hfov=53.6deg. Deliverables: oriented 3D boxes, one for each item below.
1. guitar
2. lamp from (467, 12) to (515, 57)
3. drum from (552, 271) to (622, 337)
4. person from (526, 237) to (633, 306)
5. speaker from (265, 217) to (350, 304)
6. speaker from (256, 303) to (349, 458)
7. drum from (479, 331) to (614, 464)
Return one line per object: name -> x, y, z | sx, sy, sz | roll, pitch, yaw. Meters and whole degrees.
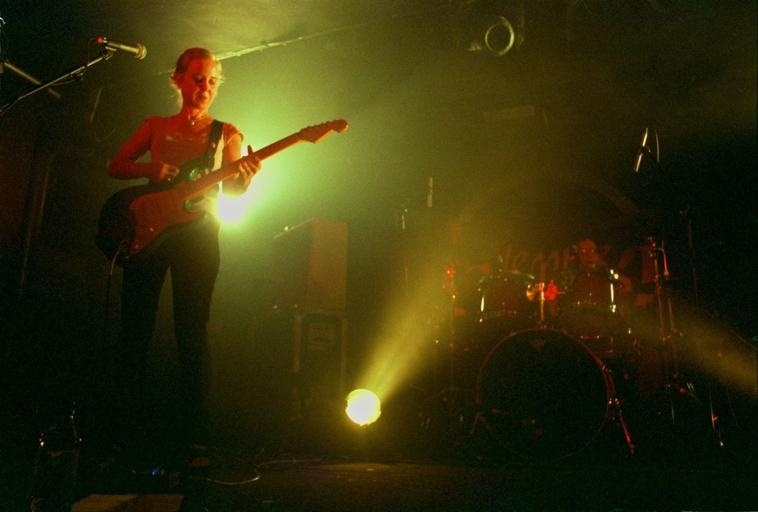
guitar -> -1.475, -0.555, 6.067 | 1.499, 1.285, 0.282 | 1, -30, 5
lamp -> 1.154, -2.195, 7.568 | 0.455, 0.260, 0.365 | 0, -28, 7
drum -> 2.054, 0.401, 7.111 | 0.544, 0.469, 0.513 | 23, -29, -35
person -> 1.972, 0.287, 7.235 | 0.846, 0.289, 0.716 | 2, 5, 3
speaker -> -0.880, 0.080, 8.887 | 0.880, 0.819, 0.413 | -17, -24, 42
speaker -> -0.844, 1.429, 8.256 | 1.115, 1.924, 1.148 | 4, -24, -13
drum -> 1.449, 1.233, 6.690 | 1.158, 1.020, 0.565 | -3, -30, 13
